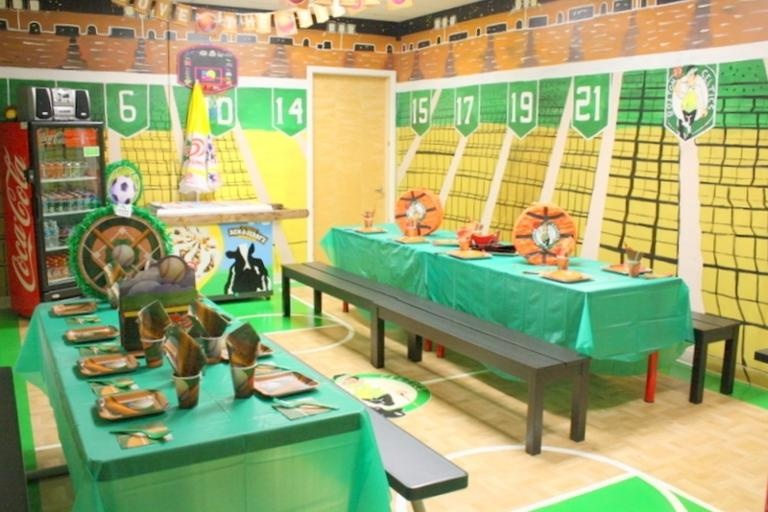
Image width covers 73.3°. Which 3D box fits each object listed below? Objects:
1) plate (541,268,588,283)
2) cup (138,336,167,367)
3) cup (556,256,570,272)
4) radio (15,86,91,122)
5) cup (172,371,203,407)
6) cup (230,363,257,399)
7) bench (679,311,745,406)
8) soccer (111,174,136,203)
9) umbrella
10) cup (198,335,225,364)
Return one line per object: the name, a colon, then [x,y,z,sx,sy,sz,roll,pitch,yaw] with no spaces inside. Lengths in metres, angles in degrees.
plate: [1.454,0.155,4.179,0.274,0.060,0.375,-11,15,-40]
cup: [-1.151,0.483,2.649,0.155,0.152,0.142,0,-2,0]
cup: [1.503,0.062,4.343,0.101,0.144,0.101,0,17,0]
radio: [-3.727,-1.824,6.263,0.692,0.392,0.485,3,11,15]
cup: [-0.868,0.597,2.253,0.131,0.124,0.128,-5,-13,-1]
cup: [-0.609,0.559,2.338,0.147,0.135,0.141,0,2,0]
bench: [2.806,0.873,4.468,0.608,0.680,0.331,-10,15,-32]
soccer: [-3.467,-0.879,6.813,0.341,0.375,0.164,-8,14,-24]
umbrella: [-2.575,-1.575,7.008,0.540,1.626,0.464,-9,15,-27]
cup: [-0.854,0.458,2.632,0.150,0.138,0.140,1,8,0]
